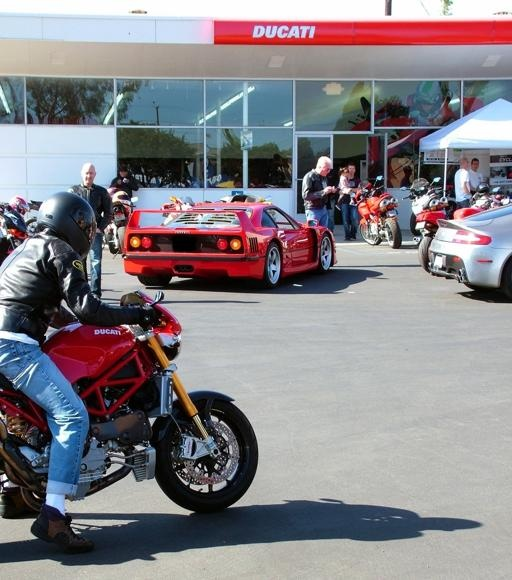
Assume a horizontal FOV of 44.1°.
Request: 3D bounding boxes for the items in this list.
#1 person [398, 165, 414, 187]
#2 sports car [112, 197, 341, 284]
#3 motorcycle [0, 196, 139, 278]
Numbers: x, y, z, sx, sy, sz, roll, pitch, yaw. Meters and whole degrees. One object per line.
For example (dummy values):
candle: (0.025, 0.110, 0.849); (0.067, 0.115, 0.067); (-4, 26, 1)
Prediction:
person: (6.010, -4.492, 25.267); (0.614, 0.980, 0.306); (12, 16, 32)
sports car: (-0.083, -1.008, 12.474); (1.893, 0.901, 3.209); (3, 11, 31)
motorcycle: (-0.837, -0.276, 2.884); (0.247, 0.289, 0.311); (-4, -26, 46)
